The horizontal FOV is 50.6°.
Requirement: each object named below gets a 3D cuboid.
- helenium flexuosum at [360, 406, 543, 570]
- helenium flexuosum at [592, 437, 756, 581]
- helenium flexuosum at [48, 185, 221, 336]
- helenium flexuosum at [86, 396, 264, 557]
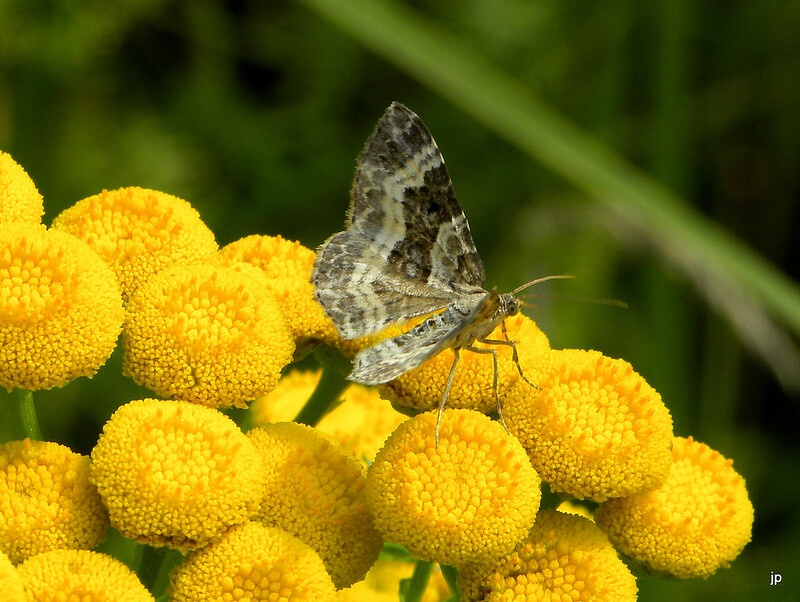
[{"bbox_3d":[0.109,0.373,1.709,0.330,0.223,0.212,15,28,-5],"label":"helenium flexuosum"},{"bbox_3d":[0.610,0.456,1.871,0.258,0.155,0.315,11,51,4],"label":"helenium flexuosum"},{"bbox_3d":[-0.641,-0.092,2.023,0.447,0.189,0.436,7,23,30],"label":"helenium flexuosum"},{"bbox_3d":[-0.430,0.336,1.639,0.300,0.174,0.277,-7,68,-17],"label":"helenium flexuosum"}]
